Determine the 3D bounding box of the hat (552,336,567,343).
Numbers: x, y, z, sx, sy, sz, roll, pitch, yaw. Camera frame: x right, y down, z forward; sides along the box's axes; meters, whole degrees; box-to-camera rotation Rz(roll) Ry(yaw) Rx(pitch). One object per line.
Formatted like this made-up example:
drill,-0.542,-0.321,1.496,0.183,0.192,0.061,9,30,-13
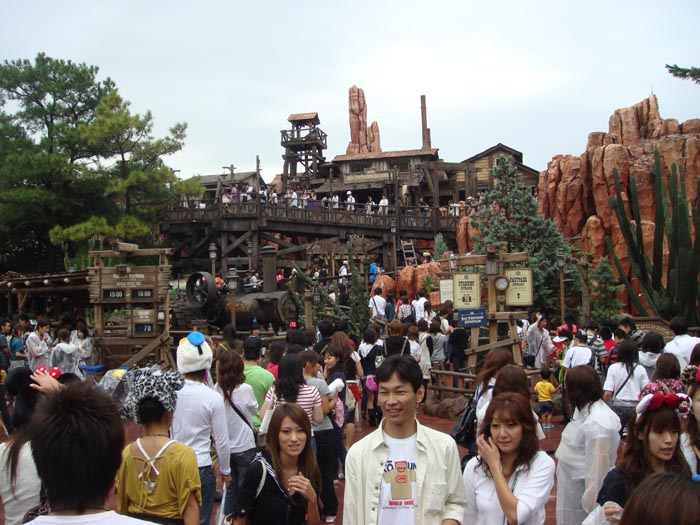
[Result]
hat,3.893,1.438,15.668,0.380,0.126,0.446,-3,-2,7

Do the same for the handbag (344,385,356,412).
handbag,0.006,1.852,11.439,0.095,0.355,0.419,-2,-4,7

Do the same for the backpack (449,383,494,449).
backpack,1.257,1.519,8.357,0.516,0.686,0.410,-5,-5,40

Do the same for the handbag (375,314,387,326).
handbag,0.755,1.406,20.214,0.265,0.162,0.198,21,8,26

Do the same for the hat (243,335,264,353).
hat,-1.145,0.990,9.928,0.205,0.213,0.301,-2,-4,-8

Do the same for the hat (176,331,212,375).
hat,-1.593,0.889,8.490,0.337,0.414,0.394,-6,6,-19

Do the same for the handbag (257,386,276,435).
handbag,-0.854,1.586,8.886,0.182,0.492,0.481,-1,-4,-11

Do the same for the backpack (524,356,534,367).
backpack,3.306,1.852,15.418,0.158,0.236,0.232,4,30,20

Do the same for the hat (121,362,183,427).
hat,-1.667,1.114,7.089,0.371,0.483,0.474,1,5,-10
